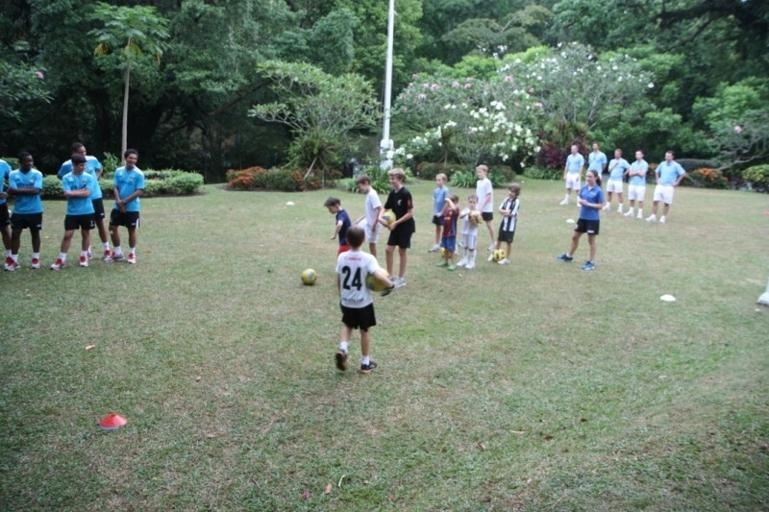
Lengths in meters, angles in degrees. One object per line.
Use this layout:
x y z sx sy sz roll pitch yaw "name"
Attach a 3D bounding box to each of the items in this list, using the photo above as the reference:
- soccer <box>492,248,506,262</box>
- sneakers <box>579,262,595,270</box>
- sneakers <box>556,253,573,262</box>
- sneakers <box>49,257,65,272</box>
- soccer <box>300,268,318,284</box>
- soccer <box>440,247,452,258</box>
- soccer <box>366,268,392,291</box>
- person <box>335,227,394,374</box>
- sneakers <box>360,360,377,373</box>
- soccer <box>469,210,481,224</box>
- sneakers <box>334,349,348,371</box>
2.504 0.018 13.162 0.308 0.282 0.244 2 9 9 "soccer"
4.331 0.238 12.812 0.354 0.160 0.143 -6 7 -40 "sneakers"
3.996 0.059 13.411 0.135 0.140 0.308 -6 14 -27 "sneakers"
-6.422 0.160 11.859 0.251 0.236 0.360 -5 10 -29 "sneakers"
-1.435 0.400 11.640 0.273 0.306 0.261 -14 40 8 "soccer"
1.329 -0.046 12.615 0.172 0.243 0.423 -3 10 -19 "soccer"
-0.093 0.369 8.756 0.324 0.325 0.318 -1 9 -18 "soccer"
-0.316 0.801 8.850 0.736 1.861 0.481 0 10 0 "person"
-0.217 1.646 8.963 0.113 0.120 0.285 5 15 34 "sneakers"
1.848 -0.765 12.242 0.203 0.132 0.270 1 18 -2 "soccer"
-0.622 1.529 8.815 0.129 0.342 0.154 -2 14 6 "sneakers"
